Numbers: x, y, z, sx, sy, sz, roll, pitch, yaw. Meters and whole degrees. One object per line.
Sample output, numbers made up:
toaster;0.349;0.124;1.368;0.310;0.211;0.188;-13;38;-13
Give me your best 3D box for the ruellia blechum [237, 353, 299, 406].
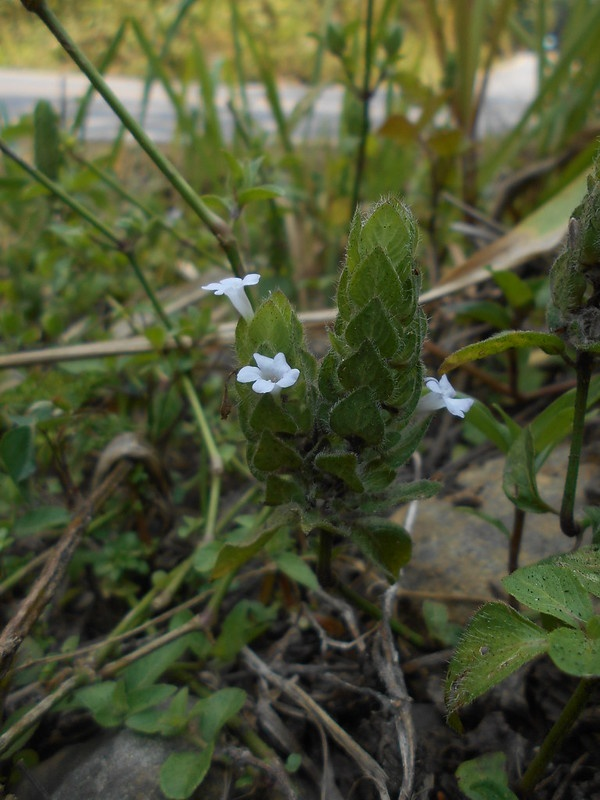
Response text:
ruellia blechum;-0.040;-0.032;1.105;0.072;0.027;0.071;36;65;29
